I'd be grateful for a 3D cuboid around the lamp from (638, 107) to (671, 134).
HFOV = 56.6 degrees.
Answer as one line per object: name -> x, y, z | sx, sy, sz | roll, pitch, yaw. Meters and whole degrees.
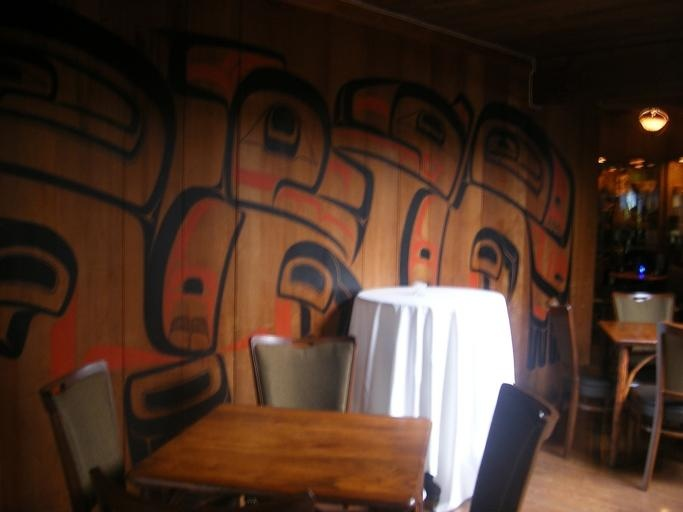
lamp -> 2.766, -1.208, 5.622 | 0.220, 0.203, 0.138 | 0, -3, 23
